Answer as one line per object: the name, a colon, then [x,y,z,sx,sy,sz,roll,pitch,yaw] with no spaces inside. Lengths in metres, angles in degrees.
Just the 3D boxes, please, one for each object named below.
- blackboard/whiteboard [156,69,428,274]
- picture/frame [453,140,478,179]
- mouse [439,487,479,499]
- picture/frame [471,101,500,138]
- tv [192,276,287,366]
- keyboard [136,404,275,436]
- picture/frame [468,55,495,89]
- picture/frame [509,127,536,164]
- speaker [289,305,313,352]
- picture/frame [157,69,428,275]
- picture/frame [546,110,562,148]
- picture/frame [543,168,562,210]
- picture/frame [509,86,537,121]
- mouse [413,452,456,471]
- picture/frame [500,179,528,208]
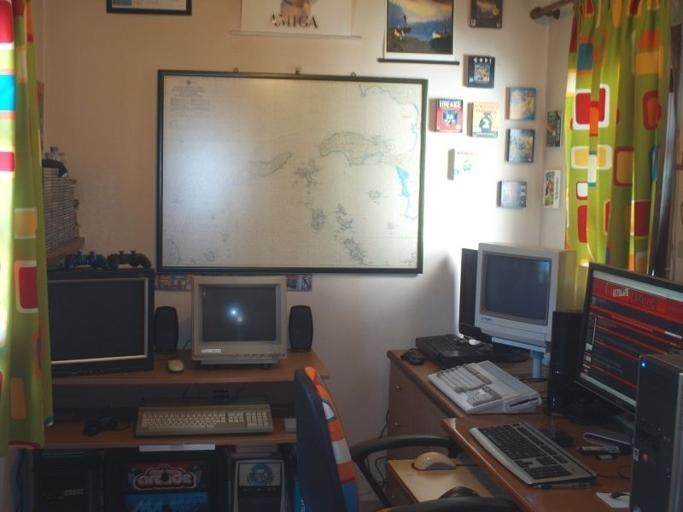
blackboard/whiteboard: [-0.336,-0.497,3.268,1.017,0.809,0.038,0,2,-9]
picture/frame: [0.691,-0.544,3.374,0.194,0.196,0.067,-1,6,-12]
mouse: [0.446,0.880,2.220,0.077,0.027,0.081,13,-8,-10]
picture/frame: [0.803,-0.777,3.378,0.184,0.247,0.026,0,3,-13]
tv: [-0.519,0.326,2.996,0.417,0.438,0.445,1,-8,-15]
keyboard: [-0.642,0.768,2.814,0.624,0.111,0.202,-3,9,-6]
picture/frame: [0.775,-1.039,3.354,0.169,0.188,0.025,-1,5,-5]
picture/frame: [1.024,-0.638,3.424,0.186,0.242,0.032,0,3,-14]
speaker: [-0.221,0.385,3.268,0.145,0.244,0.143,-3,8,-10]
picture/frame: [-0.333,-0.494,3.269,1.023,0.814,0.038,0,2,-9]
picture/frame: [1.202,-0.719,3.390,0.030,0.204,0.111,-6,9,-27]
picture/frame: [1.196,-0.379,3.397,0.036,0.218,0.127,-6,9,-25]
picture/frame: [1.022,-0.874,3.403,0.174,0.193,0.020,0,4,-13]
mouse: [0.370,0.818,2.392,0.106,0.037,0.082,0,2,-7]
picture/frame: [0.982,-0.362,3.443,0.148,0.146,0.050,0,2,-13]
